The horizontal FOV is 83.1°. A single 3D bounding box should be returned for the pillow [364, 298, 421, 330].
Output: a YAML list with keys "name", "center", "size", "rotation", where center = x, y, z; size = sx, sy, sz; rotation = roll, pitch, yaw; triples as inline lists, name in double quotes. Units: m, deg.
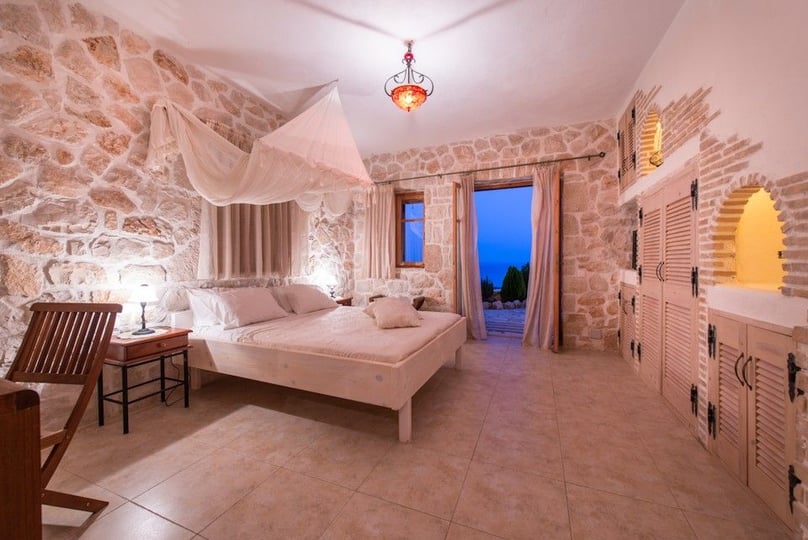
- name: "pillow"
  center: [-0.089, 0.509, 4.835]
  size: [0.312, 0.137, 0.477]
  rotation: [-2, 7, -15]

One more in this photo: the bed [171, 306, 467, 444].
- name: "bed"
  center: [-0.735, 0.798, 4.464]
  size: [1.790, 0.592, 1.494]
  rotation: [0, 3, 23]
